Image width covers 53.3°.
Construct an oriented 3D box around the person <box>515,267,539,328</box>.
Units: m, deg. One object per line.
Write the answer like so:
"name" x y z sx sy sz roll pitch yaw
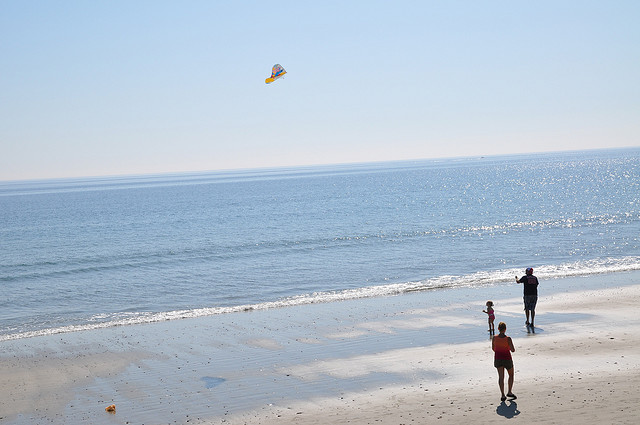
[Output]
"person" 10.692 4.384 32.738 0.899 3.260 1.491 -5 16 16
